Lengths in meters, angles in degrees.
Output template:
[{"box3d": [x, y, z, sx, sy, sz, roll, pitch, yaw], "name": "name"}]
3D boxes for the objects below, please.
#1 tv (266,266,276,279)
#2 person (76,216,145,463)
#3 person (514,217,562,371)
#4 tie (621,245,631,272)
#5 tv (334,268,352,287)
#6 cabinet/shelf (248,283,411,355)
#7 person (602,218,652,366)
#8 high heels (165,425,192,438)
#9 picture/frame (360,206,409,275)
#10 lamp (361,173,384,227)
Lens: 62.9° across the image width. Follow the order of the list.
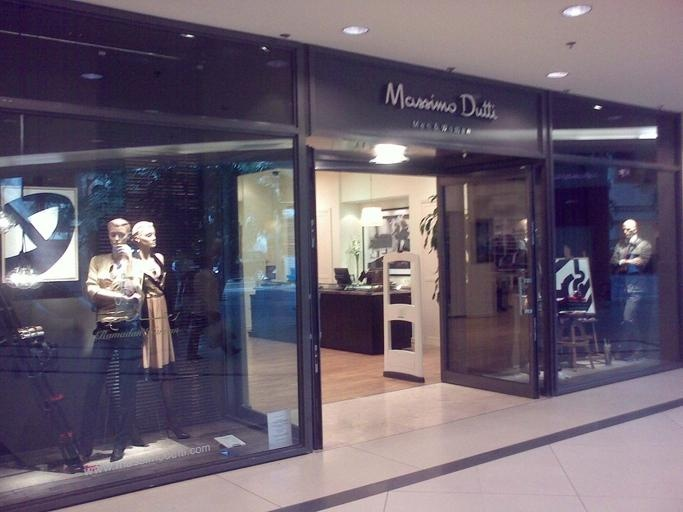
[{"box3d": [-0.605, 0.134, 4.750, 0.089, 0.126, 0.019, -3, 4, -34], "name": "tv"}, {"box3d": [-1.708, 0.725, 4.139, 0.468, 1.545, 0.170, -2, 3, -27], "name": "person"}, {"box3d": [2.262, 0.439, 6.393, 0.449, 1.793, 0.333, -2, 3, -28], "name": "person"}, {"box3d": [3.634, 0.047, 7.175, 0.077, 0.279, 0.204, 9, 8, -5], "name": "tie"}, {"box3d": [0.014, 0.395, 10.243, 0.315, 0.311, 0.135, 2, 2, 39], "name": "tv"}, {"box3d": [-0.397, 0.966, 9.480, 2.247, 0.804, 0.637, 3, -8, -13], "name": "cabinet/shelf"}, {"box3d": [3.740, 0.412, 7.226, 0.880, 1.790, 0.204, -3, 4, -39], "name": "person"}, {"box3d": [-1.266, 1.355, 4.338, 0.197, 0.085, 0.067, 11, 5, 13], "name": "high heels"}, {"box3d": [0.858, -0.334, 10.820, 0.077, 1.487, 1.335, -4, 6, -43], "name": "picture/frame"}, {"box3d": [0.595, -1.111, 11.170, 0.395, 1.018, 0.792, 0, 3, 4], "name": "lamp"}]
